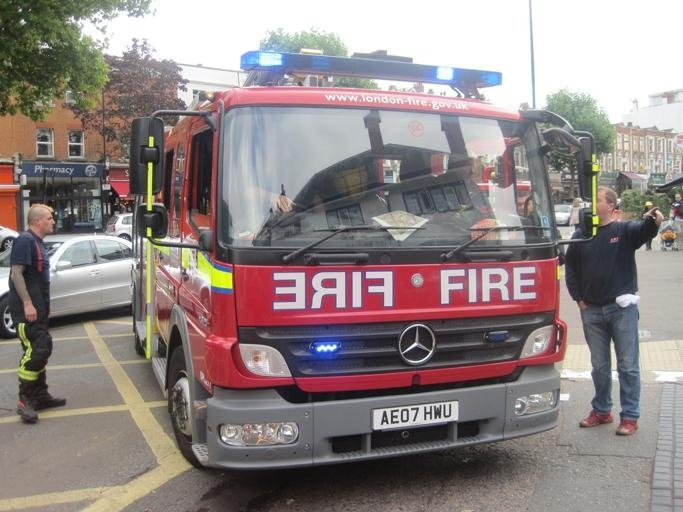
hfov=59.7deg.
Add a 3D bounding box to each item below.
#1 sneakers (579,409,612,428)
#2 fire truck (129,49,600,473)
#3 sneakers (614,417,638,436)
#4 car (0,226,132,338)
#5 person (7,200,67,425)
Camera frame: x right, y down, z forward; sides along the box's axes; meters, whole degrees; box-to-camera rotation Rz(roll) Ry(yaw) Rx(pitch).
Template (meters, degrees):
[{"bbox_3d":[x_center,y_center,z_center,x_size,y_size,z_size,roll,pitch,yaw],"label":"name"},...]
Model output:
[{"bbox_3d":[2.509,1.582,5.864,0.366,0.168,0.139,-1,-1,-10],"label":"sneakers"},{"bbox_3d":[-0.575,-0.255,7.962,3.774,3.329,7.473,0,3,-18],"label":"fire truck"},{"bbox_3d":[2.680,1.590,5.566,0.100,0.118,0.280,-8,-9,39],"label":"sneakers"},{"bbox_3d":[-5.127,0.461,11.573,1.487,1.258,3.335,2,1,34],"label":"car"},{"bbox_3d":[-3.439,0.597,6.560,0.395,2.317,0.665,-2,5,0],"label":"person"}]
